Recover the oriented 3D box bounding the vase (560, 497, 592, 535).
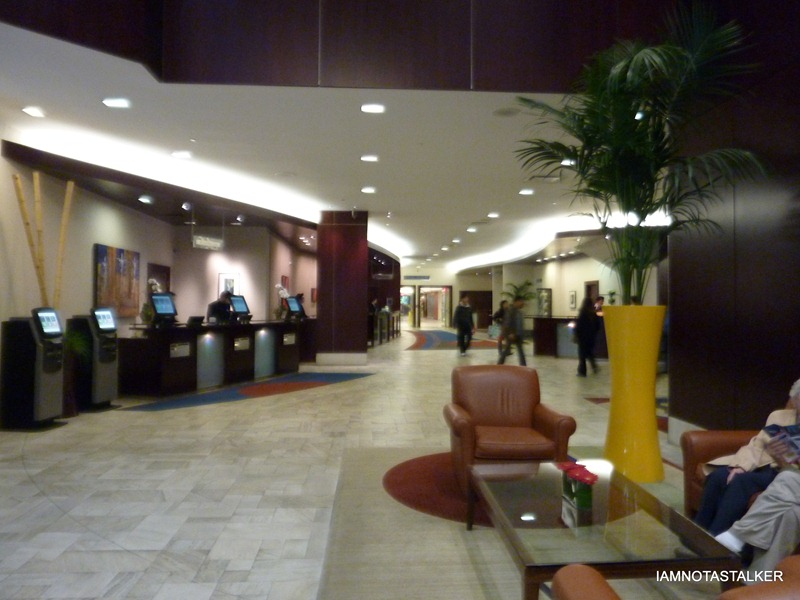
[{"bbox_3d":[1.210,1.496,4.195,0.095,0.126,0.179,2,-3,-5],"label":"vase"}]

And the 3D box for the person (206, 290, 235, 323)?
[{"bbox_3d":[-3.378,0.150,11.312,0.470,0.546,0.853,-2,-1,-16],"label":"person"}]

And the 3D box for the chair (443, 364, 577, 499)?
[{"bbox_3d":[0.976,1.219,5.640,1.098,1.125,1.079,1,-9,-4],"label":"chair"}]

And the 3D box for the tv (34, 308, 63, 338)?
[{"bbox_3d":[-4.475,0.292,7.637,0.186,0.380,0.344,-16,-3,8],"label":"tv"}]

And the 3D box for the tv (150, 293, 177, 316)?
[{"bbox_3d":[-3.894,0.077,9.846,0.050,0.284,0.375,-19,-9,19],"label":"tv"}]

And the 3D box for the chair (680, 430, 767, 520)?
[{"bbox_3d":[2.418,1.338,4.822,0.601,0.691,0.639,2,-6,-4],"label":"chair"}]

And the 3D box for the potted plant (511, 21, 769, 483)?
[{"bbox_3d":[2.331,-0.315,6.039,2.055,3.946,2.418,-2,2,-5],"label":"potted plant"}]
